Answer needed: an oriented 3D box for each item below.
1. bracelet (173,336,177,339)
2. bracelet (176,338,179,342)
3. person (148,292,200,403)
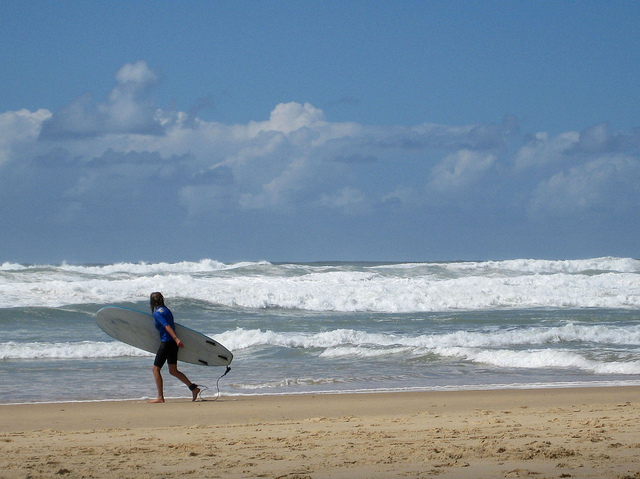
[{"bbox_3d":[-2.656,1.772,20.387,0.060,0.060,0.014,-29,28,21],"label":"bracelet"},{"bbox_3d":[-2.615,1.809,20.346,0.073,0.060,0.024,-2,2,-37],"label":"bracelet"},{"bbox_3d":[-2.828,1.969,20.778,0.905,2.038,0.922,-5,-8,5],"label":"person"}]
